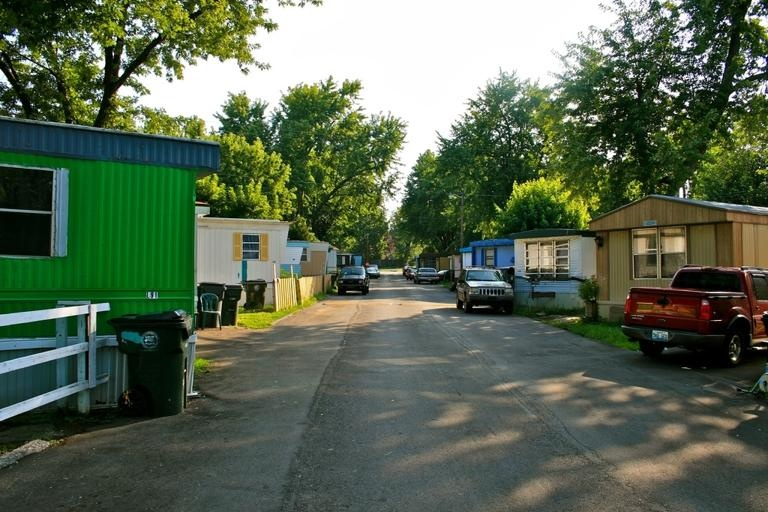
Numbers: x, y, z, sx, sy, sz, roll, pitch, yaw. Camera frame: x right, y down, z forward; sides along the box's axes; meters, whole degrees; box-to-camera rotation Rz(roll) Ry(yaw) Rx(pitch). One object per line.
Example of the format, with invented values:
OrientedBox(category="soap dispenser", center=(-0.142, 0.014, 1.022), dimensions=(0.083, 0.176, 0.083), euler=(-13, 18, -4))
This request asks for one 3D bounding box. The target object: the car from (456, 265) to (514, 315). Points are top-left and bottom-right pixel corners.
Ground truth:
OrientedBox(category="car", center=(4.287, 1.526, 27.107), dimensions=(1.954, 1.843, 2.191), euler=(-1, 5, -8))

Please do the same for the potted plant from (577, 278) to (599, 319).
OrientedBox(category="potted plant", center=(7.506, 1.634, 23.273), dimensions=(0.373, 1.346, 0.678), euler=(-3, 6, -29))

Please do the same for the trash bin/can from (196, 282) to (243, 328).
OrientedBox(category="trash bin/can", center=(-5.277, 1.674, 20.563), dimensions=(1.625, 1.418, 1.297), euler=(1, 3, -18))

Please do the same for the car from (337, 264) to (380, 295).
OrientedBox(category="car", center=(-1.997, 1.691, 41.723), dimensions=(2.004, 1.811, 2.927), euler=(-1, 5, -6))

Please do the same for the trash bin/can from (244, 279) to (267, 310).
OrientedBox(category="trash bin/can", center=(-5.135, 1.596, 26.002), dimensions=(1.089, 1.415, 1.113), euler=(0, 1, -15))

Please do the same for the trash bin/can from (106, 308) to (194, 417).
OrientedBox(category="trash bin/can", center=(-4.438, 1.859, 11.977), dimensions=(1.662, 2.082, 1.774), euler=(-1, 0, -11))
